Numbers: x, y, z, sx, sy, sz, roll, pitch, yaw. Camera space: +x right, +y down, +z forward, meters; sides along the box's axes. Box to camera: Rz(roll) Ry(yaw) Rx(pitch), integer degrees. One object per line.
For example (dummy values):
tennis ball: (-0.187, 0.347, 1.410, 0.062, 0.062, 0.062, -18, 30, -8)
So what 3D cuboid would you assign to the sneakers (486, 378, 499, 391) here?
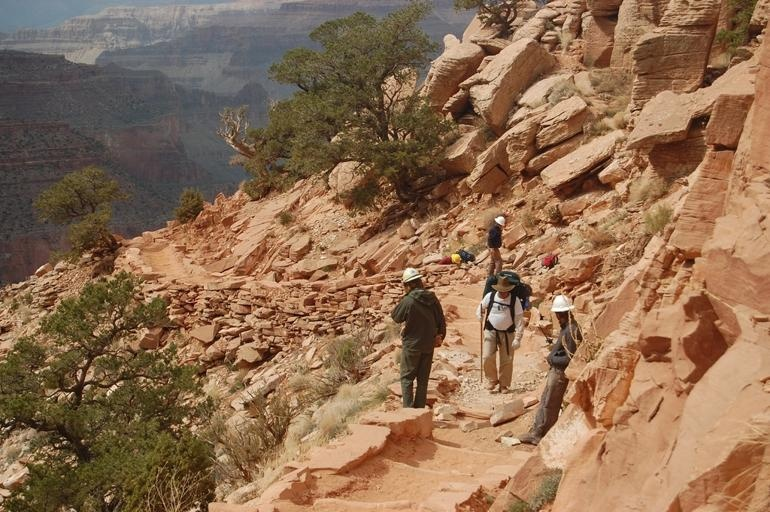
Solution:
sneakers: (2.495, 2.973, 16.403, 0.220, 0.237, 0.246, 1, -12, 12)

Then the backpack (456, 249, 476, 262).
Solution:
backpack: (2.560, 0.008, 22.643, 0.305, 0.231, 0.501, -24, 21, -21)

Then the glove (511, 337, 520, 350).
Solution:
glove: (2.904, 1.958, 15.836, 0.261, 0.272, 0.188, -9, -5, 42)

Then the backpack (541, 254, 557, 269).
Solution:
backpack: (4.726, 0.142, 20.380, 0.309, 0.403, 0.189, 9, -18, 45)

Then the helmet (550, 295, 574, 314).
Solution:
helmet: (3.639, 0.978, 14.656, 0.390, 0.279, 0.489, -13, 7, 15)
